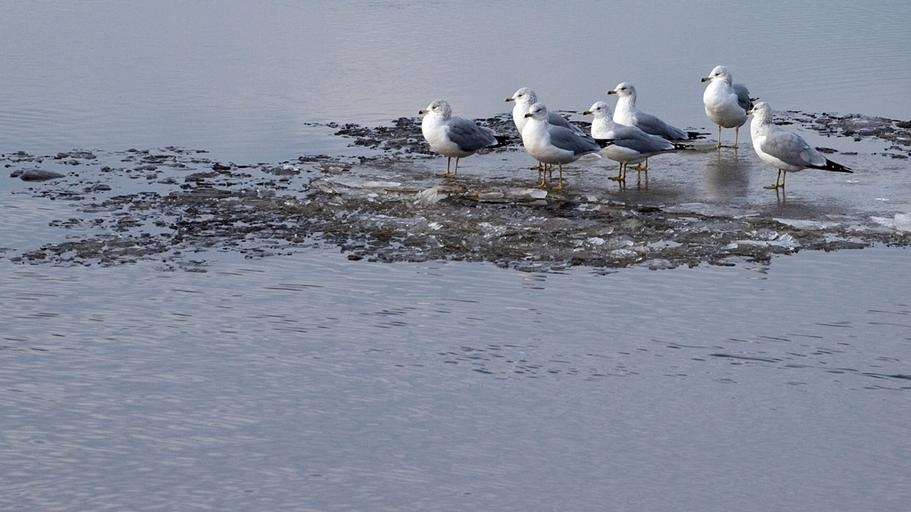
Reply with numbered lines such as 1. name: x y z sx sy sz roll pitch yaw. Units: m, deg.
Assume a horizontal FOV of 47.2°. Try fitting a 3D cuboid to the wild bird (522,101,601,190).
1. wild bird: 2.077 -2.403 20.578 1.488 1.166 0.634 0 21 3
